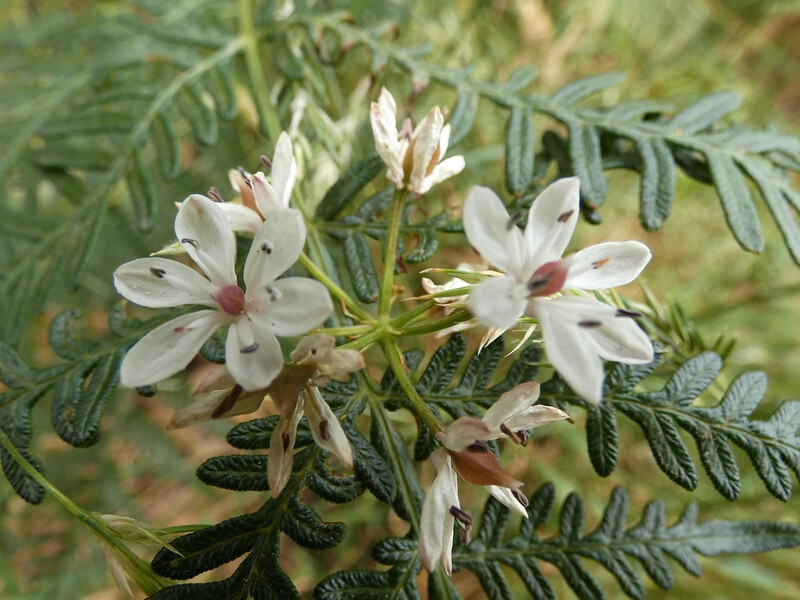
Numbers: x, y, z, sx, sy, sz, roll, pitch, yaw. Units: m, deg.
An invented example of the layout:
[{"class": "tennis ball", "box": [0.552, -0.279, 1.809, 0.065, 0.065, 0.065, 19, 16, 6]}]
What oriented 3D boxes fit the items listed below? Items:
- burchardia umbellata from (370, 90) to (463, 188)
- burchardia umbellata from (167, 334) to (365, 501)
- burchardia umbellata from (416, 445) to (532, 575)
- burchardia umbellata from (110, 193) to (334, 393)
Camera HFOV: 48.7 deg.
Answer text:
[{"class": "burchardia umbellata", "box": [0.058, -0.508, 2.973, 0.339, 0.310, 0.306, 1, 18, -36]}, {"class": "burchardia umbellata", "box": [-0.411, 0.358, 2.712, 0.507, 0.230, 0.525, 16, 53, -18]}, {"class": "burchardia umbellata", "box": [0.164, 0.620, 2.739, 0.347, 0.113, 0.388, 31, 74, -11]}, {"class": "burchardia umbellata", "box": [-0.528, 0.001, 2.704, 0.597, 0.243, 0.617, -15, 72, 6]}]
